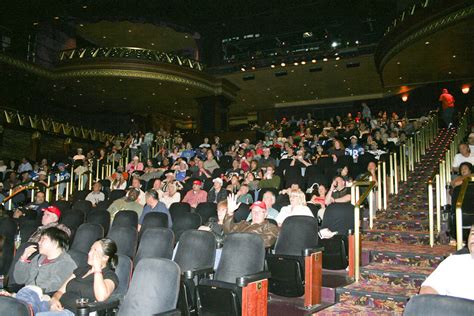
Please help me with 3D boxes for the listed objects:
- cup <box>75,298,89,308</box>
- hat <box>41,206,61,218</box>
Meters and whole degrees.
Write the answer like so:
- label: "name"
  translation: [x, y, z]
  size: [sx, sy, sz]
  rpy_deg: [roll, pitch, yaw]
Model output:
- label: "cup"
  translation: [-1.757, 1.677, 4.281]
  size: [0.128, 0.072, 0.122]
  rpy_deg: [2, -13, 0]
- label: "hat"
  translation: [-3.090, 0.902, 6.251]
  size: [0.216, 0.170, 0.271]
  rpy_deg: [6, -10, -34]
